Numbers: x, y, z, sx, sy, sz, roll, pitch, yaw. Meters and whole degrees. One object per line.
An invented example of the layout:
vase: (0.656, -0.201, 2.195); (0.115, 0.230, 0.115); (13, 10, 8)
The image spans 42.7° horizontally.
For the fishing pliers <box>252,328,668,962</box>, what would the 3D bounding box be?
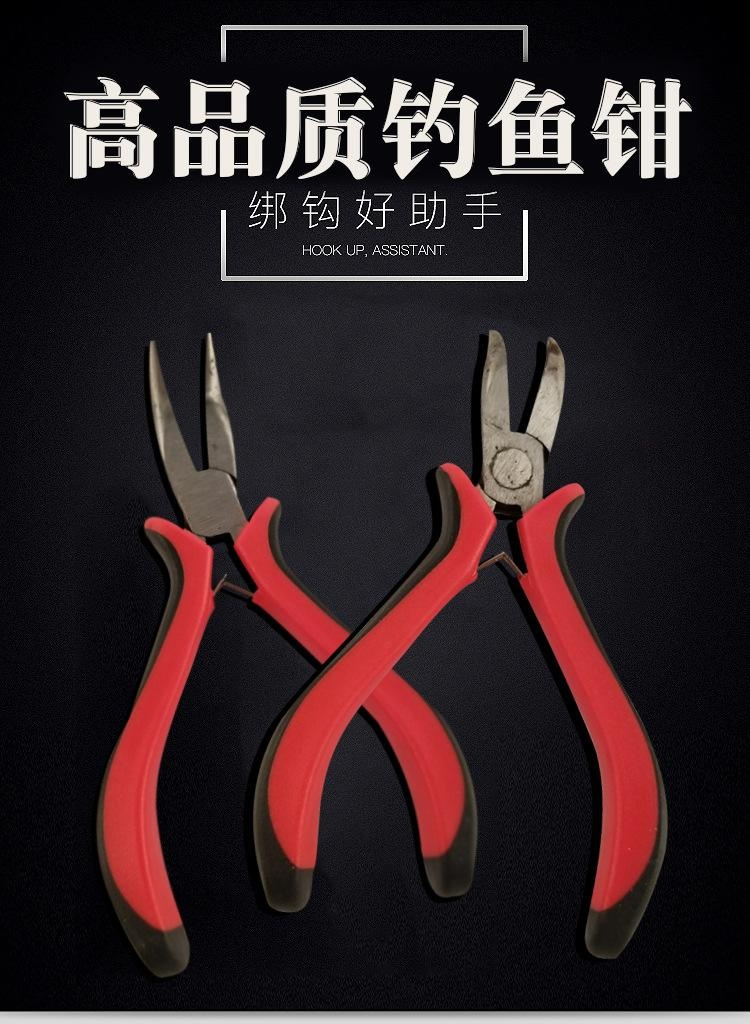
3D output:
fishing pliers: (0.070, 0.153, 0.964); (0.431, 0.056, 0.874); (5, 86, 1)

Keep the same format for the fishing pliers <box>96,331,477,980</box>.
fishing pliers: (-0.128, 0.137, 0.836); (0.289, 0.063, 0.635); (-8, 91, -7)
